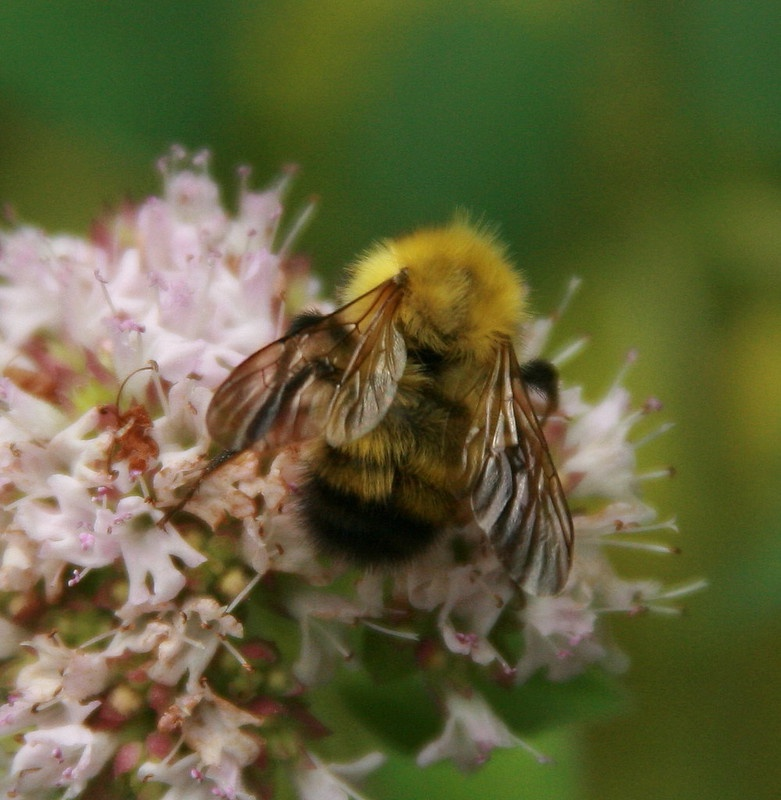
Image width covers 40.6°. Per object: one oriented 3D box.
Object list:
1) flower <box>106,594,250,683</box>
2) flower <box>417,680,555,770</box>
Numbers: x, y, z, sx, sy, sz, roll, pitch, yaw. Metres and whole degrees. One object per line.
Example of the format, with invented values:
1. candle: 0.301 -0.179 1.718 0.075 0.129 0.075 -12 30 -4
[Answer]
1. flower: -0.388 0.458 2.003 0.247 0.160 0.177 17 -29 6
2. flower: 0.175 0.686 2.155 0.191 0.197 0.070 -12 -31 -27
